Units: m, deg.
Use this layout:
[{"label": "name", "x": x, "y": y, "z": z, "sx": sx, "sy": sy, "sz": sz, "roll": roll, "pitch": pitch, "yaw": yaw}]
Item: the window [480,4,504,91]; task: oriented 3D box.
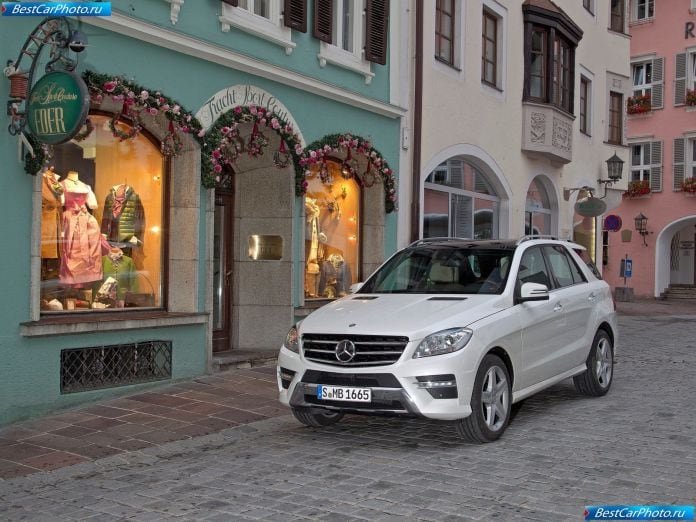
[{"label": "window", "x": 4.031, "y": -5.824, "z": 16.332, "sx": 0.268, "sy": 2.045, "sz": 1.083, "roll": -1, "pitch": -1, "yaw": 40}]

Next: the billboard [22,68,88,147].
[{"label": "billboard", "x": -3.212, "y": -1.717, "z": 6.510, "sx": 0.983, "sy": 0.801, "sz": 0.132, "roll": -1, "pitch": -1, "yaw": 32}]

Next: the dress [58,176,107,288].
[{"label": "dress", "x": -3.694, "y": -0.454, "z": 8.134, "sx": 0.336, "sy": 1.542, "sz": 0.534, "roll": 4, "pitch": 9, "yaw": 38}]

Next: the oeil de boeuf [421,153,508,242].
[{"label": "oeil de boeuf", "x": 3.008, "y": -1.623, "z": 15.869, "sx": 0.221, "sy": 2.056, "sz": 2.771, "roll": -9, "pitch": 15, "yaw": -37}]

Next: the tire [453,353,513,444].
[{"label": "tire", "x": 1.277, "y": 1.311, "z": 5.673, "sx": 0.217, "sy": 0.815, "sz": 0.762, "roll": -5, "pitch": 8, "yaw": 35}]

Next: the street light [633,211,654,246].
[{"label": "street light", "x": 16.918, "y": -1.839, "z": 33.909, "sx": 0.777, "sy": 1.896, "sz": 0.850, "roll": -1, "pitch": -1, "yaw": 42}]

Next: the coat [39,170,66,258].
[{"label": "coat", "x": -3.851, "y": -0.620, "z": 7.695, "sx": 0.057, "sy": 1.179, "sz": 0.305, "roll": -1, "pitch": -1, "yaw": 21}]

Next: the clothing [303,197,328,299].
[{"label": "clothing", "x": -0.648, "y": -0.465, "z": 11.825, "sx": 0.224, "sy": 1.106, "sz": 0.375, "roll": 2, "pitch": 16, "yaw": 41}]

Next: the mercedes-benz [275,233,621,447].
[{"label": "mercedes-benz", "x": 1.500, "y": 0.748, "z": 7.191, "sx": 4.916, "sy": 2.139, "sz": 2.171, "roll": 1, "pitch": -1, "yaw": -43}]

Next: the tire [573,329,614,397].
[{"label": "tire", "x": 3.359, "y": 1.372, "z": 8.051, "sx": 0.286, "sy": 0.917, "sz": 0.855, "roll": -3, "pitch": -11, "yaw": 39}]

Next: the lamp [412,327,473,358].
[{"label": "lamp", "x": 0.887, "y": 0.697, "z": 5.486, "sx": 0.437, "sy": 0.190, "sz": 0.255, "roll": -11, "pitch": 16, "yaw": -34}]
